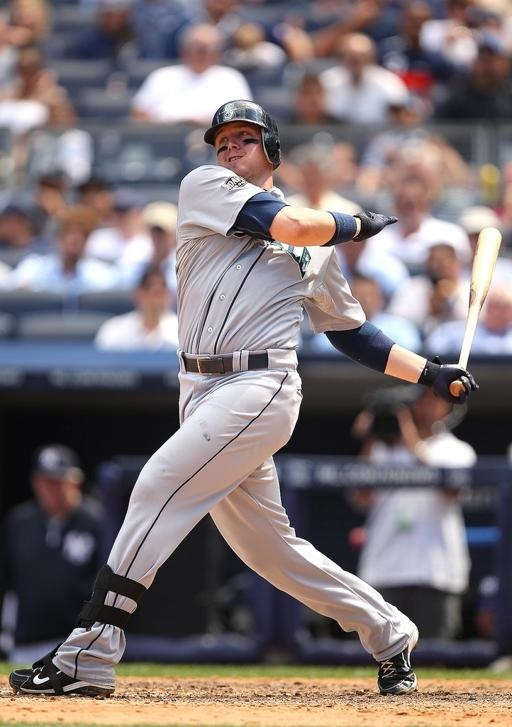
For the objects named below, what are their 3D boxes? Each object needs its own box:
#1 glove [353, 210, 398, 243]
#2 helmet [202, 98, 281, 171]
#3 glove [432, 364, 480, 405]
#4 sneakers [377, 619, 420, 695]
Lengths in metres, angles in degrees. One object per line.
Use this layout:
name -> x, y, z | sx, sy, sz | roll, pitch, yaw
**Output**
glove -> 0.346, -0.424, 3.588 | 0.162, 0.067, 0.080 | -11, 67, -38
helmet -> -0.050, -0.719, 3.641 | 0.231, 0.253, 0.178 | -6, 38, -5
glove -> 0.641, 0.067, 3.732 | 0.138, 0.107, 0.110 | 4, 37, 8
sneakers -> 0.440, 0.958, 3.597 | 0.112, 0.143, 0.147 | 2, 37, 6
